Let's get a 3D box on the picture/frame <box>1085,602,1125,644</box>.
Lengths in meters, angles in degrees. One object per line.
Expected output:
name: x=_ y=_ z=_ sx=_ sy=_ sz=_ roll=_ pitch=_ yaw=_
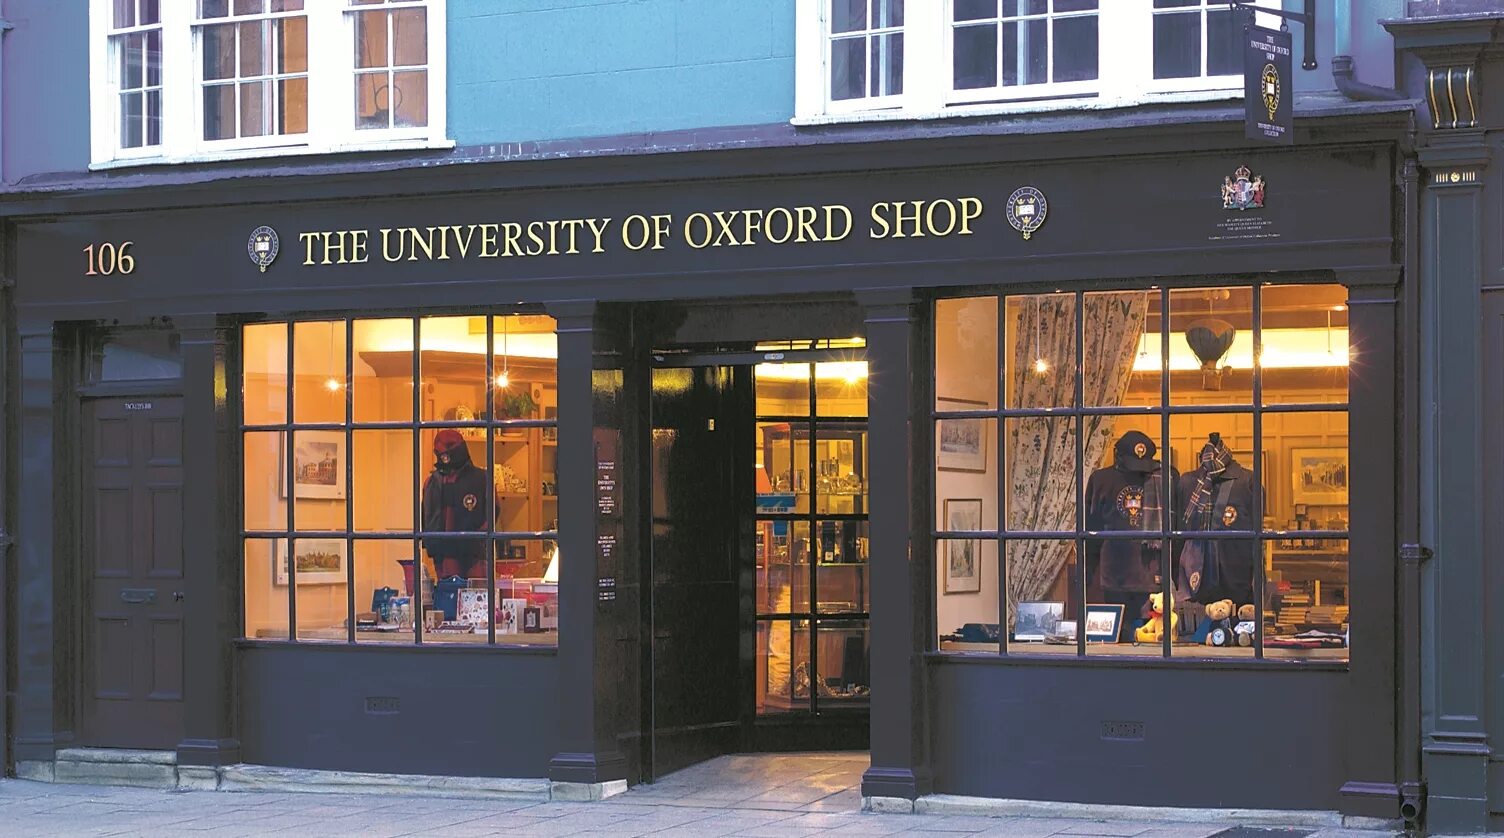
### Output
picture/frame: x=3.187 y=1.841 z=19.780 sx=0.413 sy=0.303 sz=0.376 roll=10 pitch=26 yaw=11

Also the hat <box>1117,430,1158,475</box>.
hat: x=3.467 y=0.323 z=19.719 sx=0.302 sy=0.199 sz=0.400 roll=1 pitch=8 yaw=-2

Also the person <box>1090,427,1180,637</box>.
person: x=3.405 y=1.055 z=19.731 sx=0.758 sy=1.859 sz=0.167 roll=-4 pitch=-6 yaw=12

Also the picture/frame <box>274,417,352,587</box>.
picture/frame: x=-4.158 y=0.844 z=21.287 sx=0.800 sy=1.462 sz=0.056 roll=1 pitch=2 yaw=31

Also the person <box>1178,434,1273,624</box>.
person: x=4.177 y=1.009 z=19.571 sx=0.731 sy=1.695 sz=0.197 roll=-3 pitch=-6 yaw=7
